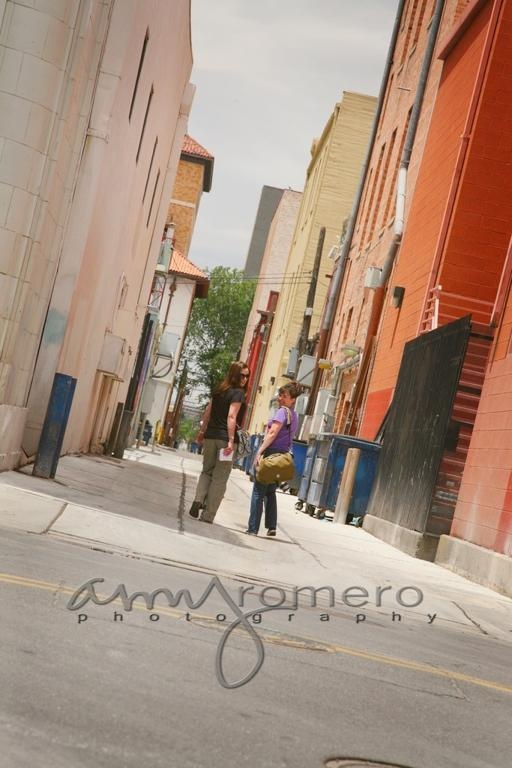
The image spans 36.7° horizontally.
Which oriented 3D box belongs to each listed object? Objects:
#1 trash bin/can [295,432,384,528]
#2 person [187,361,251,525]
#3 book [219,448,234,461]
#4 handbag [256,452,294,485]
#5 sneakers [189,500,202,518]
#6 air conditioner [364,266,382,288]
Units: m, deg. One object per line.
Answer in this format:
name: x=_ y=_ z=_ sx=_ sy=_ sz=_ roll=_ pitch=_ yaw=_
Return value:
trash bin/can: x=1.696 y=1.955 z=15.732 sx=1.277 sy=1.748 sz=1.827 roll=16 pitch=-2 yaw=1
person: x=-0.435 y=0.679 z=8.997 sx=0.444 sy=1.905 sz=0.621 roll=16 pitch=-2 yaw=-2
book: x=-0.336 y=0.806 z=8.707 sx=0.149 sy=0.139 sz=0.035 roll=3 pitch=-4 yaw=-12
handbag: x=0.219 y=1.017 z=9.272 sx=0.372 sy=0.332 sz=0.190 roll=1 pitch=20 yaw=-33
sneakers: x=-0.714 y=1.501 z=9.140 sx=0.093 sy=0.273 sz=0.116 roll=7 pitch=17 yaw=5
air conditioner: x=3.094 y=-2.762 z=20.079 sx=0.407 sy=0.565 sz=0.329 roll=16 pitch=-2 yaw=-1
